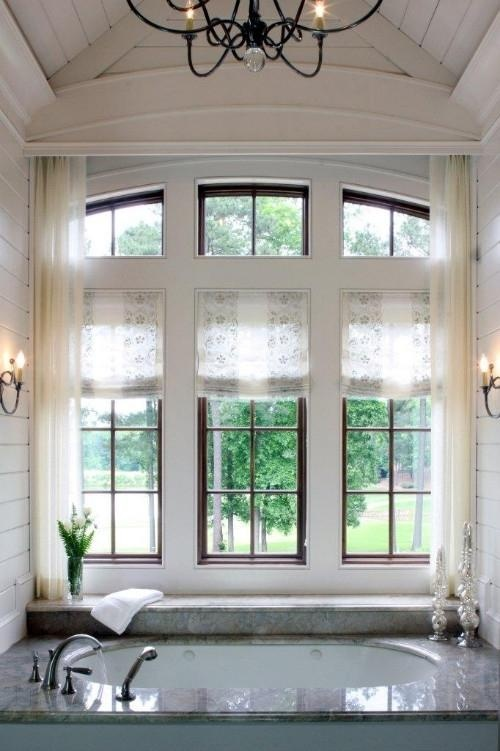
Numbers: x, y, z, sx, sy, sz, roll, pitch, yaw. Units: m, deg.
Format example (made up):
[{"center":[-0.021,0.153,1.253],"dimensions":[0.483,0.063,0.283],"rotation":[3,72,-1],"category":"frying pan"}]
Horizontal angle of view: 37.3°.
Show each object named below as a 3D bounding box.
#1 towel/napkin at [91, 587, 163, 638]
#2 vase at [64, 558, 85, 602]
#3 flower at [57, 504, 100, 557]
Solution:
[{"center":[-0.656,1.278,3.978],"dimensions":[0.208,0.192,0.428],"rotation":[4,5,26],"category":"towel/napkin"},{"center":[-0.972,1.111,4.079],"dimensions":[0.082,0.237,0.087],"rotation":[2,4,-7],"category":"vase"},{"center":[-0.916,0.832,4.115],"dimensions":[0.267,0.374,0.300],"rotation":[-2,-7,-9],"category":"flower"}]
